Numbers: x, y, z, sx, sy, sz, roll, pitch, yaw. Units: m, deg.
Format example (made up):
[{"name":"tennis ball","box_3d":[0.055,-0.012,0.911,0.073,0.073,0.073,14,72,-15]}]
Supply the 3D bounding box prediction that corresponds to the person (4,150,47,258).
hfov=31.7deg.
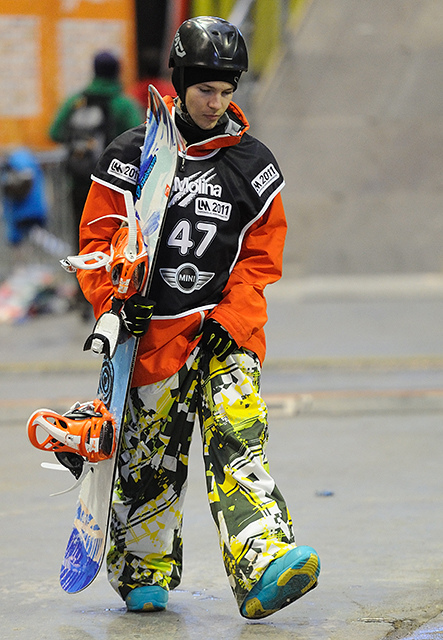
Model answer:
[{"name":"person","box_3d":[-2.428,-1.474,9.515,0.493,1.163,0.387,-6,15,-8]}]

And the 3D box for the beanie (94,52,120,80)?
[{"name":"beanie","box_3d":[-1.066,-2.366,7.240,0.211,0.182,0.216,-2,0,-2]}]
